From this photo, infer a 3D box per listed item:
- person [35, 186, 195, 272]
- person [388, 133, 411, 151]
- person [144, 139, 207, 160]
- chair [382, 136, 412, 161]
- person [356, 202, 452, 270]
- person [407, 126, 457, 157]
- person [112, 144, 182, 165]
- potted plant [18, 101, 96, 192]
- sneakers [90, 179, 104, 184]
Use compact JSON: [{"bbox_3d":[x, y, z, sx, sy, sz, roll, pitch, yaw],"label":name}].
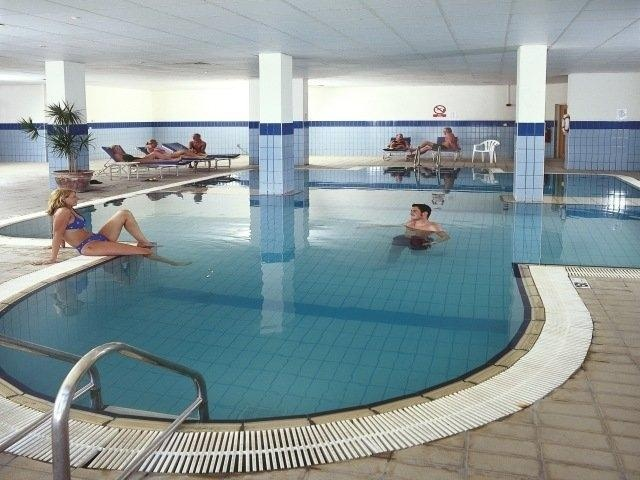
[{"bbox_3d":[-2.239,-0.123,4.887,1.676,0.639,0.660,5,13,-31],"label":"person"},{"bbox_3d":[2.690,-3.309,14.788,0.939,0.335,1.115,2,11,12],"label":"person"},{"bbox_3d":[-4.419,-2.645,12.996,1.965,0.392,1.258,3,12,27],"label":"person"},{"bbox_3d":[2.672,-3.206,15.266,1.197,0.713,1.785,2,13,18],"label":"chair"},{"bbox_3d":[1.309,-0.130,6.176,0.786,0.637,1.691,-22,7,-28],"label":"person"},{"bbox_3d":[3.792,-3.137,13.772,2.125,0.821,0.971,-1,18,11],"label":"person"},{"bbox_3d":[-4.707,-2.271,11.764,1.625,0.333,1.014,1,10,13],"label":"person"},{"bbox_3d":[-5.306,-1.995,9.162,0.803,1.855,1.675,-10,16,-28],"label":"potted plant"},{"bbox_3d":[-5.066,-1.317,9.857,0.194,0.080,0.263,2,4,11],"label":"sneakers"}]
